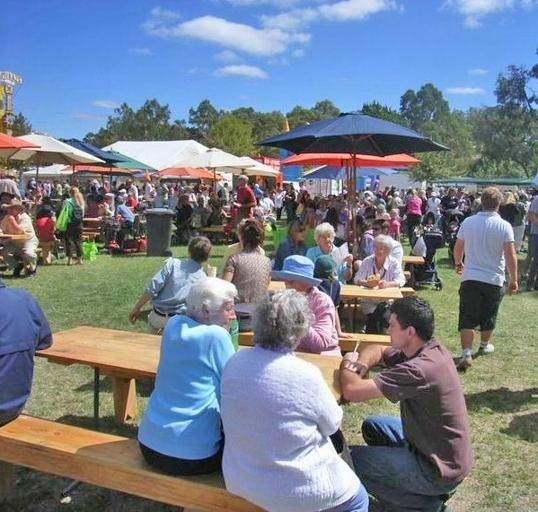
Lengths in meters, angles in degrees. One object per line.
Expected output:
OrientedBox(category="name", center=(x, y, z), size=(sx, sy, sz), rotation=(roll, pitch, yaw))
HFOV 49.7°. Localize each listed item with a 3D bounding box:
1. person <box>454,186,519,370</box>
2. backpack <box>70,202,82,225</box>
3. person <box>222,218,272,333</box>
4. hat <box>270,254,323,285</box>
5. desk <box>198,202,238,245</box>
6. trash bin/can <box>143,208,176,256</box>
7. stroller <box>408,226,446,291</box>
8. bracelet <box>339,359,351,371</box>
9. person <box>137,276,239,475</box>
OrientedBox(category="person", center=(2.273, 0.224, 6.127), size=(0.629, 1.873, 0.440), rotation=(1, 6, 4))
OrientedBox(category="backpack", center=(-3.788, -0.872, 11.621), size=(0.300, 0.604, 0.438), rotation=(-2, 6, -21))
OrientedBox(category="person", center=(-0.201, 0.165, 5.795), size=(0.471, 1.239, 0.653), rotation=(-3, 25, -12))
OrientedBox(category="hat", center=(0.264, 0.114, 5.232), size=(0.301, 0.161, 0.365), rotation=(11, 3, 0))
OrientedBox(category="desk", center=(-1.302, -0.866, 15.772), size=(0.811, 0.470, 1.170), rotation=(3, 12, 13))
OrientedBox(category="trash bin/can", center=(-2.478, -0.543, 13.356), size=(0.805, 1.244, 0.860), rotation=(6, 11, 16))
OrientedBox(category="stroller", center=(2.883, 0.015, 10.633), size=(0.626, 1.260, 0.852), rotation=(1, 2, 3))
OrientedBox(category="bracelet", center=(0.490, 0.696, 3.724), size=(0.059, 0.058, 0.050), rotation=(-3, 4, -17))
OrientedBox(category="person", center=(-0.378, 0.652, 3.268), size=(0.526, 1.007, 0.589), rotation=(14, 11, 40))
